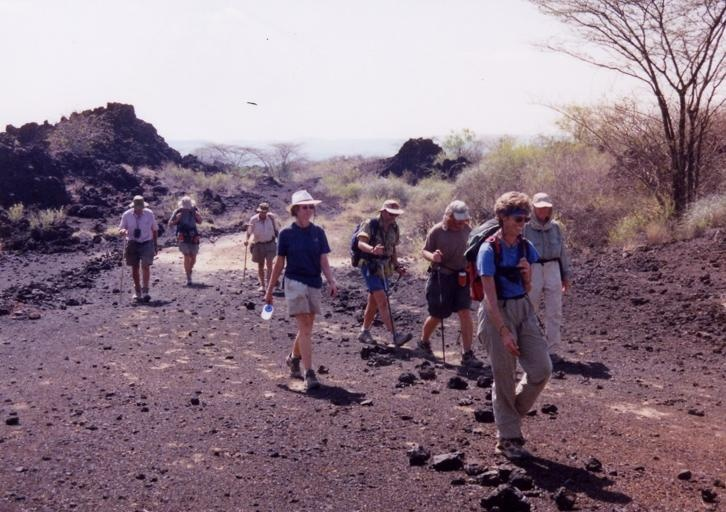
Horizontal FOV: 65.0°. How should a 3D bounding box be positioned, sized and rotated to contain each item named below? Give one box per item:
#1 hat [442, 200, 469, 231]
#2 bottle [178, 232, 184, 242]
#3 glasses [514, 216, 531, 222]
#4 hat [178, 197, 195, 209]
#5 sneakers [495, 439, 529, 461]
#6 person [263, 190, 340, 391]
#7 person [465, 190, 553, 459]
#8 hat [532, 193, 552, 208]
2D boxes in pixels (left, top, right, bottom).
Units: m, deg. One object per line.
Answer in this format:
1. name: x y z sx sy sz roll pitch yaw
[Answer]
1. hat: 1.330 -0.603 8.242 0.309 0.251 0.429 3 20 -2
2. bottle: -4.239 -0.458 13.187 0.173 0.315 0.175 0 -2 0
3. glasses: 1.738 -0.402 6.144 0.211 0.077 0.127 -5 8 -36
4. hat: -4.204 -1.231 13.366 0.317 0.142 0.325 -27 50 -37
5. sneakers: 1.631 2.121 6.256 0.315 0.226 0.168 -1 0 30
6. person: -0.856 0.435 7.959 0.903 2.679 1.030 -1 7 -4
7. person: 1.637 0.755 6.222 0.777 2.887 0.447 1 7 6
8. hat: 2.579 -0.780 8.315 0.258 0.139 0.381 0 17 7
